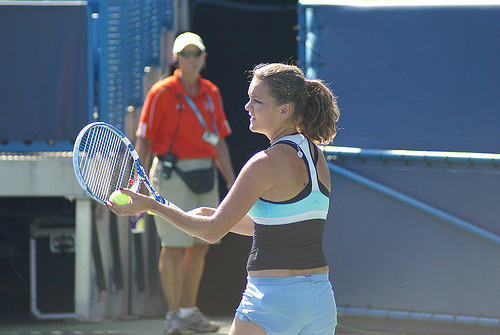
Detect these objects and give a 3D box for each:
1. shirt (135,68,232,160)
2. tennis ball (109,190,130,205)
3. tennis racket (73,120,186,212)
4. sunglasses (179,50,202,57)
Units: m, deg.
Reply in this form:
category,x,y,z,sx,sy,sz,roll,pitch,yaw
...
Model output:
category,x,y,z,sx,sy,sz,roll,pitch,yaw
shirt,-0.631,-0.509,11.656,0.874,0.839,0.313,1,7,-10
tennis ball,-1.037,0.240,9.786,0.136,0.124,0.124,28,-8,4
tennis racket,-1.040,-0.011,10.703,0.667,0.618,0.304,1,21,-28
sunglasses,-0.554,-1.078,11.591,0.204,0.065,0.025,2,7,-9
